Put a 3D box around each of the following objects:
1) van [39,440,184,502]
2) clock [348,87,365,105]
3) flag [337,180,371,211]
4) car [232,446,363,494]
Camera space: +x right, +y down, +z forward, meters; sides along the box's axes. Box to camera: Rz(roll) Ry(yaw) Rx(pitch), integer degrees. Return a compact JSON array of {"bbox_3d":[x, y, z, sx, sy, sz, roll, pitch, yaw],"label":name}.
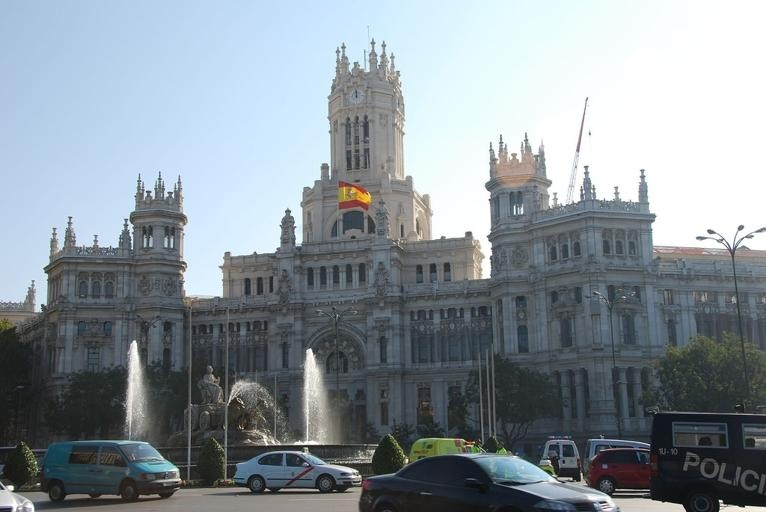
[{"bbox_3d":[-16.226,12.975,63.963,5.977,4.239,2.621,-1,-7,13],"label":"van"},{"bbox_3d":[-3.236,-19.270,133.570,1.936,2.199,0.293,8,-1,22],"label":"clock"},{"bbox_3d":[-3.438,-6.826,127.054,3.592,3.138,0.734,1,-15,1],"label":"flag"},{"bbox_3d":[-5.437,13.508,69.064,6.791,2.244,3.004,-3,-12,6],"label":"car"}]
